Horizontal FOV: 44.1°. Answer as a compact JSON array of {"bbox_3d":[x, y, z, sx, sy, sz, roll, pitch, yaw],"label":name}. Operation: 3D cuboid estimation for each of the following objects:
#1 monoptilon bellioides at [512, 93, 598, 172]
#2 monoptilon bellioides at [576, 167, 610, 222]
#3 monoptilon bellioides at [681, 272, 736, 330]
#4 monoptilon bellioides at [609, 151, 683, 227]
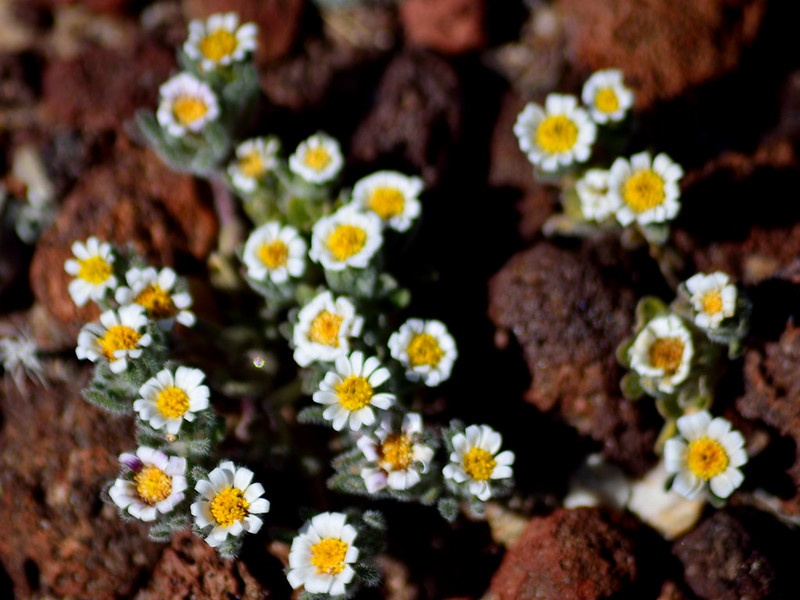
[{"bbox_3d":[0.831,-0.888,5.282,0.425,0.123,0.388,-13,78,3],"label":"monoptilon bellioides"},{"bbox_3d":[1.033,-0.555,5.218,0.201,0.078,0.261,-19,80,50],"label":"monoptilon bellioides"},{"bbox_3d":[1.585,-0.003,4.967,0.236,0.090,0.285,-15,78,3],"label":"monoptilon bellioides"},{"bbox_3d":[1.276,-0.583,5.134,0.370,0.050,0.372,-4,79,5],"label":"monoptilon bellioides"}]
